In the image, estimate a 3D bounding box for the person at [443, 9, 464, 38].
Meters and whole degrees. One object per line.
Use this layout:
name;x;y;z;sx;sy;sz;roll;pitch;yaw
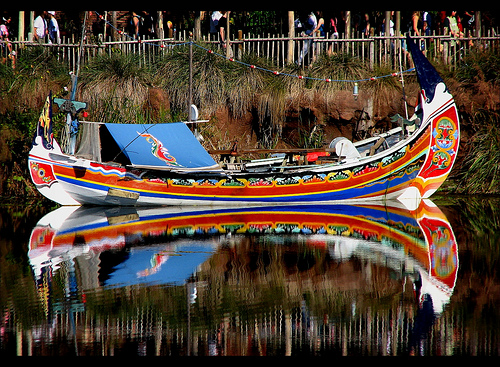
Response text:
person;7.374;-5.761;37.034;0.717;0.942;1.967;-2;10;11

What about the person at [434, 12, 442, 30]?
person;7.236;-6.250;39.293;0.233;0.635;0.902;-2;9;4
